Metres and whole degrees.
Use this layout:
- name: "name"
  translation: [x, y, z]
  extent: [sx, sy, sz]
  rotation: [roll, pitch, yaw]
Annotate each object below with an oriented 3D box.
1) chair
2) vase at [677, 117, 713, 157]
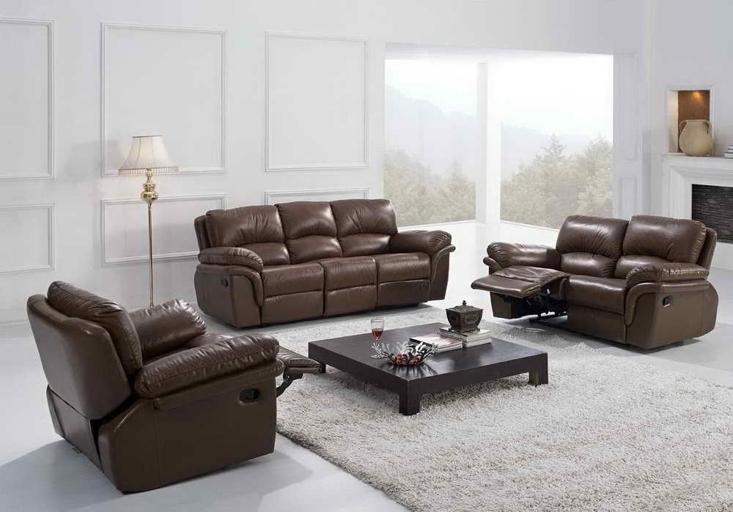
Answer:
- name: "chair"
  translation: [-1.086, 0.726, 3.314]
  extent: [1.378, 0.939, 1.146]
  rotation: [-7, 11, -39]
- name: "vase"
  translation: [5.045, -1.782, 8.558]
  extent: [0.541, 0.545, 0.482]
  rotation: [4, 10, 43]
